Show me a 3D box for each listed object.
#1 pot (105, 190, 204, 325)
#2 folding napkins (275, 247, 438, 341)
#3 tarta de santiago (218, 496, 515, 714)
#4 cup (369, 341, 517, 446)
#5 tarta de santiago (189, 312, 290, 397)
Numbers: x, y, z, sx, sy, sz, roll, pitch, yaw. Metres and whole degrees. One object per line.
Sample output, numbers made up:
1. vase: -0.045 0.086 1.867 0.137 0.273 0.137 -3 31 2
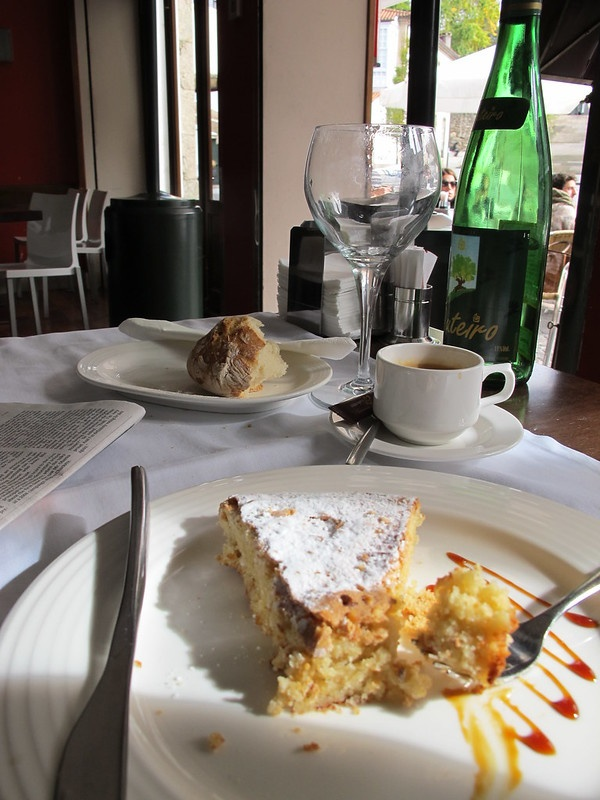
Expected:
1. pot: -0.479 -0.465 2.140 0.326 0.413 0.219 -3 15 -16
2. folding napkins: 0.080 -0.149 0.920 0.142 0.064 0.181 -1 21 -6
3. tarta de santiago: 0.021 0.092 0.393 0.126 0.057 0.224 6 15 -19
4. cup: 0.131 -0.002 0.574 0.125 0.073 0.090 -2 16 -15
5. tarta de santiago: -0.073 -0.061 0.681 0.082 0.045 0.094 -22 27 -10
